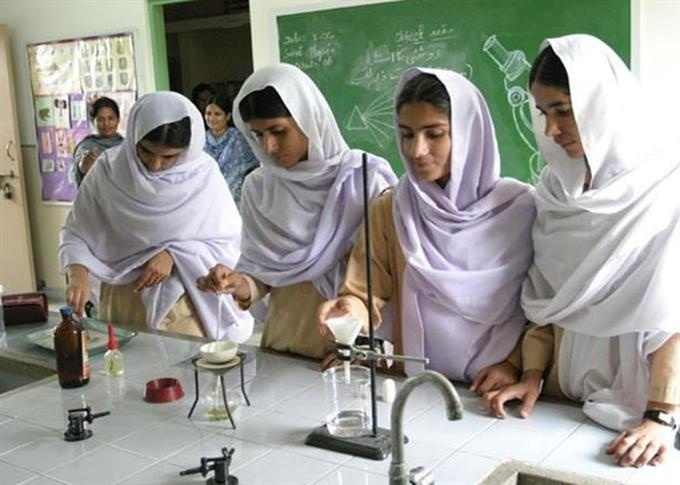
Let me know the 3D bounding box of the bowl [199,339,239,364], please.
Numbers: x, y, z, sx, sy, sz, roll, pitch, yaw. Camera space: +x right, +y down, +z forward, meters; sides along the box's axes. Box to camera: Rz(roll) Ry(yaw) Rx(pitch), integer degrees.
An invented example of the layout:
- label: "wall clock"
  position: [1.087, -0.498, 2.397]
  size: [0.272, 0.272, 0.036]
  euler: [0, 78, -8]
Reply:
- label: "bowl"
  position: [-0.381, 0.332, 2.000]
  size: [0.115, 0.051, 0.172]
  euler: [-8, 12, -22]

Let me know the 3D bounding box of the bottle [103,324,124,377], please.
- label: "bottle"
  position: [-0.817, 0.377, 2.296]
  size: [0.065, 0.174, 0.128]
  euler: [-7, 12, -20]

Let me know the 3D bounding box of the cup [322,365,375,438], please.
- label: "cup"
  position: [0.022, 0.463, 1.873]
  size: [0.147, 0.210, 0.132]
  euler: [-8, -10, 30]

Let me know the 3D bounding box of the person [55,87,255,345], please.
- label: "person"
  position: [-0.960, 0.117, 3.291]
  size: [0.894, 1.596, 0.669]
  euler: [-3, 30, -18]

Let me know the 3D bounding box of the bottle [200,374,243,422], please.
- label: "bottle"
  position: [-0.368, 0.473, 1.971]
  size: [0.124, 0.171, 0.126]
  euler: [-2, 0, 0]

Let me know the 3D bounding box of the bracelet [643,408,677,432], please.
- label: "bracelet"
  position: [0.888, 0.485, 1.771]
  size: [0.084, 0.052, 0.084]
  euler: [22, -22, -18]

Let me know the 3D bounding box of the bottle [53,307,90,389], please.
- label: "bottle"
  position: [-0.938, 0.357, 2.228]
  size: [0.109, 0.271, 0.131]
  euler: [-8, 12, -23]
